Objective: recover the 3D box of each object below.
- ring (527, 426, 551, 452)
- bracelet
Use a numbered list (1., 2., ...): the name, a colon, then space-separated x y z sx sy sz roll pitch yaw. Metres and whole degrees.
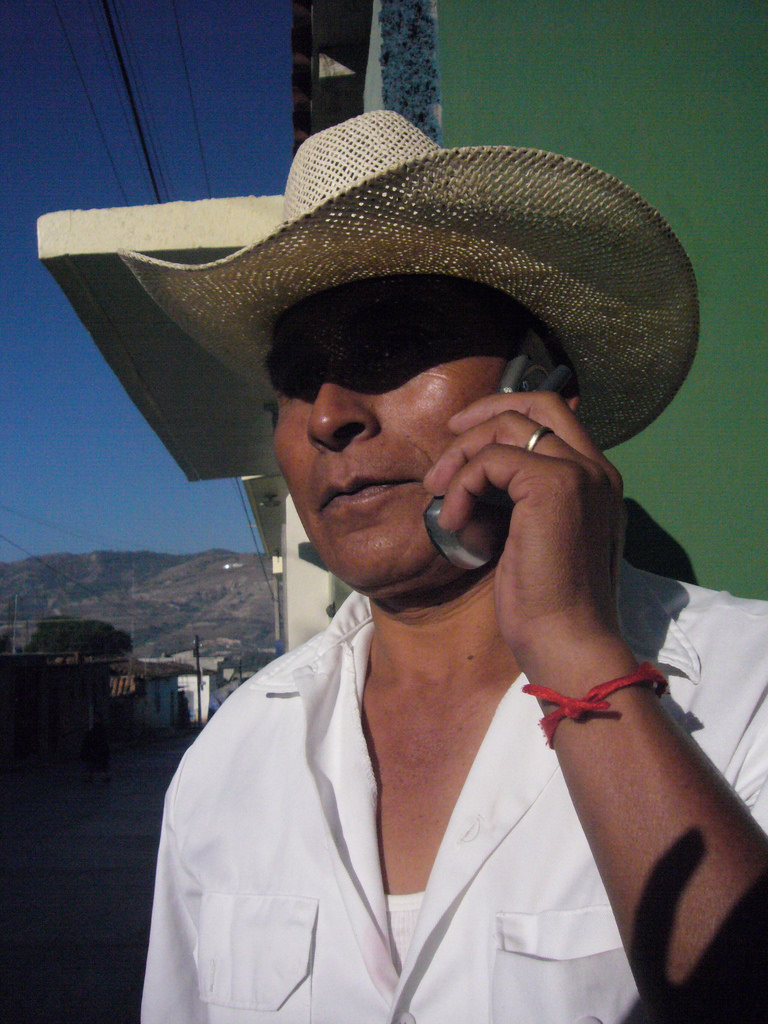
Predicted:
1. ring: 0.308 -0.148 2.512 0.018 0.052 0.044 26 7 3
2. bracelet: 0.398 0.343 2.381 0.198 0.180 0.097 -19 61 -23
